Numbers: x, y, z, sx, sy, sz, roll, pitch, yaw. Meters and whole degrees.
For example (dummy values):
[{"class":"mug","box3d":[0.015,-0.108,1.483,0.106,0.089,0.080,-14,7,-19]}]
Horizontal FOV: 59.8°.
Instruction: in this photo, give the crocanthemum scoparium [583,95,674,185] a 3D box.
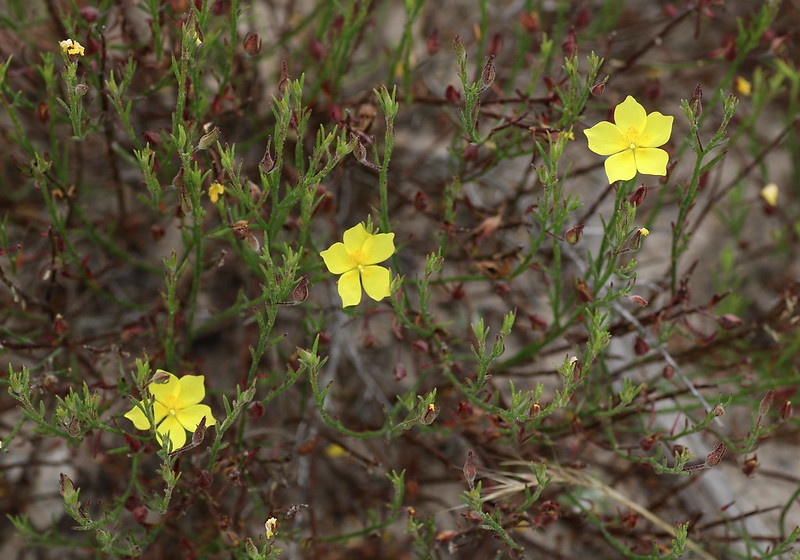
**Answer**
[{"class":"crocanthemum scoparium","box3d":[0.822,-0.508,2.483,0.282,0.319,0.120,-8,68,5]}]

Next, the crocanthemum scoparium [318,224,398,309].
[{"class":"crocanthemum scoparium","box3d":[-0.152,-0.088,2.525,0.308,0.391,0.126,-19,87,1]}]

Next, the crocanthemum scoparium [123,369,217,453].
[{"class":"crocanthemum scoparium","box3d":[-0.820,0.443,2.449,0.259,0.320,0.109,-6,95,-6]}]
